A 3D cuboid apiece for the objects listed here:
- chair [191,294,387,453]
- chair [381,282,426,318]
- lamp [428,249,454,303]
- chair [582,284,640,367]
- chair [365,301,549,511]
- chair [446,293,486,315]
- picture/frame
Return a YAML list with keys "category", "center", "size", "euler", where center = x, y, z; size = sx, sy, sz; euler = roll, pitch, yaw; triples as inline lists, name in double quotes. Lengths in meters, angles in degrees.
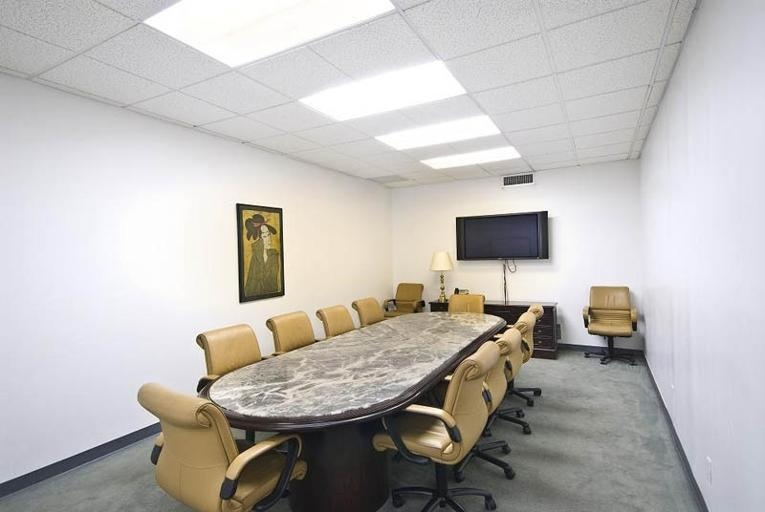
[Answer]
- category: "chair"
  center: [-0.872, 1.025, 4.115]
  size: [0.408, 0.505, 1.351]
  euler: [-11, -3, 35]
- category: "chair"
  center: [0.365, 0.770, 8.291]
  size: [0.606, 0.671, 0.598]
  euler: [-3, -3, 23]
- category: "lamp"
  center: [1.051, 0.328, 8.154]
  size: [0.361, 0.864, 0.637]
  euler: [-1, 9, 8]
- category: "chair"
  center: [3.355, 0.978, 6.840]
  size: [0.714, 1.024, 0.895]
  euler: [3, 10, 27]
- category: "chair"
  center: [0.644, 1.280, 4.203]
  size: [1.375, 1.869, 1.340]
  euler: [-1, 0, 29]
- category: "chair"
  center: [1.210, 0.671, 6.614]
  size: [0.320, 0.380, 0.331]
  euler: [-2, -7, 24]
- category: "picture/frame"
  center: [-1.610, -0.061, 6.061]
  size: [0.208, 1.265, 0.859]
  euler: [3, 11, 27]
